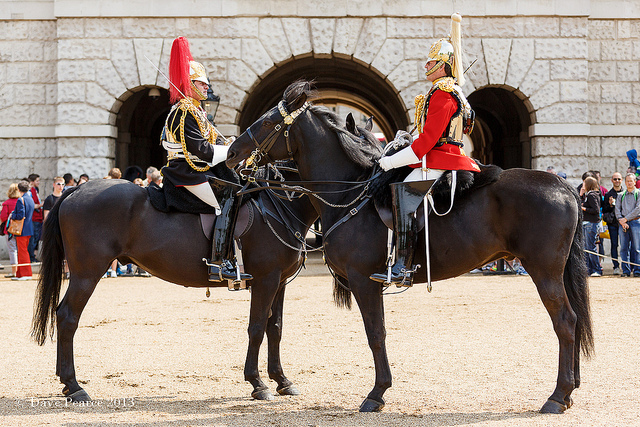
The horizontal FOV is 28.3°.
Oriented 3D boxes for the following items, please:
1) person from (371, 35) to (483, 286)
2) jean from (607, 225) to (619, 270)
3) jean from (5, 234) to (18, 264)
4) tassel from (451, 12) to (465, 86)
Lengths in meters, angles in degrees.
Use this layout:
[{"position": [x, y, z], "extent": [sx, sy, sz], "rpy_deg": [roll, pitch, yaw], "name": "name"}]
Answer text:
[{"position": [1.651, -0.833, 20.400], "extent": [1.681, 3.863, 0.962], "rpy_deg": [-13, 19, -39], "name": "person"}, {"position": [6.433, 0.805, 28.164], "extent": [0.286, 1.117, 0.755], "rpy_deg": [2, 15, 12], "name": "jean"}, {"position": [-6.849, 0.838, 28.266], "extent": [0.203, 0.739, 0.528], "rpy_deg": [-5, 15, -14], "name": "jean"}, {"position": [2.185, -2.726, 20.570], "extent": [0.354, 1.062, 0.283], "rpy_deg": [-8, 22, -24], "name": "tassel"}]
